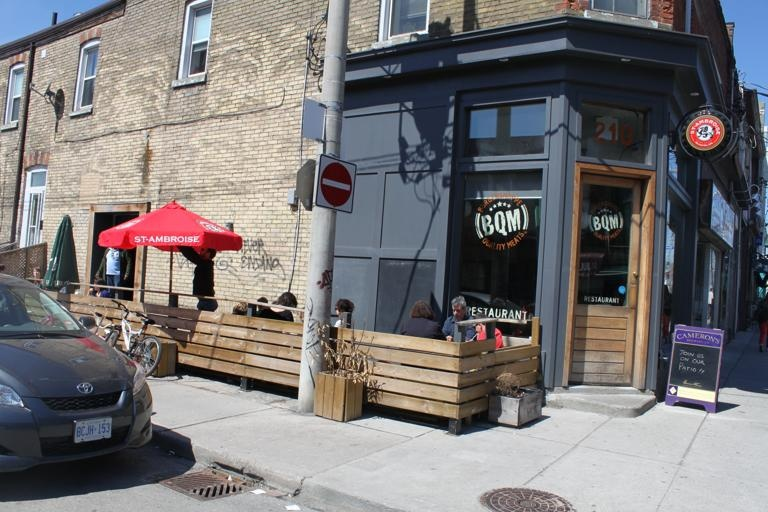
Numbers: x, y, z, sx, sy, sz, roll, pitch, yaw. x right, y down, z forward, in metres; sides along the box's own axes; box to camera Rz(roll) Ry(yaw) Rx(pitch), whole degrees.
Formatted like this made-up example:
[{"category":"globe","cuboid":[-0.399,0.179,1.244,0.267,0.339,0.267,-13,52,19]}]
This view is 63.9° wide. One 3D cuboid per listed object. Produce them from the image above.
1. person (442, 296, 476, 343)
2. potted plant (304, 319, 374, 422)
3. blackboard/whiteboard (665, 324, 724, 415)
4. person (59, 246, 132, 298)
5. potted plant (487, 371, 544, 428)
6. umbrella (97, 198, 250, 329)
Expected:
[{"category":"person","cuboid":[1.312,1.073,10.535,0.565,0.739,1.879,3,11,5]},{"category":"potted plant","cuboid":[-0.651,1.790,9.640,0.849,1.368,0.721,8,12,27]},{"category":"blackboard/whiteboard","cuboid":[5.458,1.947,10.833,0.769,1.378,0.502,7,12,24]},{"category":"person","cuboid":[-6.922,0.395,14.914,1.249,0.850,0.729,-2,-8,33]},{"category":"potted plant","cuboid":[2.151,2.317,9.926,0.485,0.644,0.950,1,-2,37]},{"category":"umbrella","cuboid":[-3.765,0.231,11.878,2.476,1.851,2.491,5,9,21]}]
